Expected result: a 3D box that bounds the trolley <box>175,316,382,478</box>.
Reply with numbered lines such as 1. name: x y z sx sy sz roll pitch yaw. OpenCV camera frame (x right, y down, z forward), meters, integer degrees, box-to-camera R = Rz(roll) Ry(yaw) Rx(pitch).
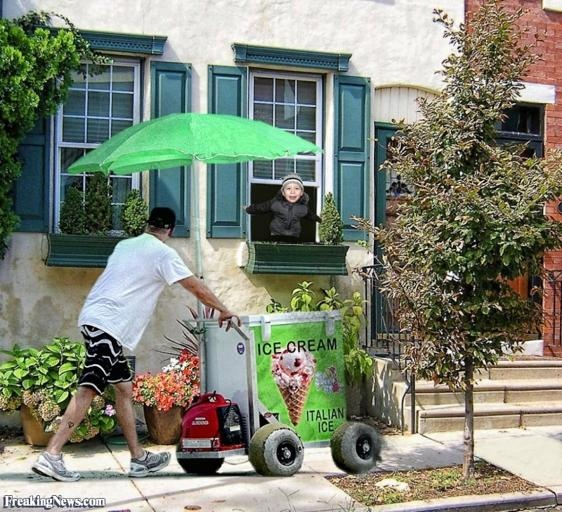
1. trolley: 0.055 1.229 7.986 1.510 1.406 1.187 1 -10 -24
